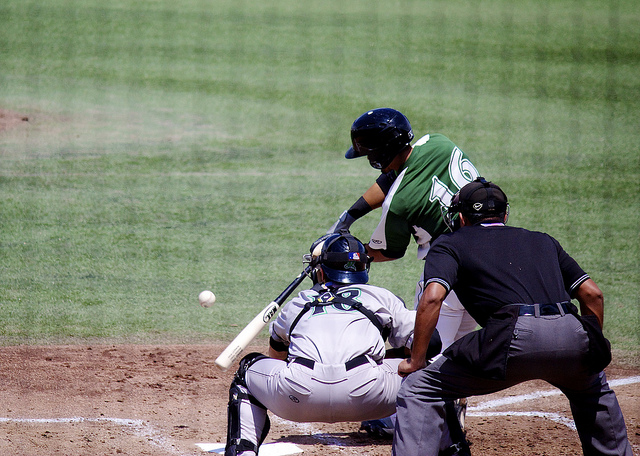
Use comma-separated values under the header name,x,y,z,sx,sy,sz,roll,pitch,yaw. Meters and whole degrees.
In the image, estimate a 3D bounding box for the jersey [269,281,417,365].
name,x,y,z,sx,sy,sz,roll,pitch,yaw
jersey,0.307,1.292,19.497,1.914,1.107,0.476,0,3,3

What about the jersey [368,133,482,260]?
name,x,y,z,sx,sy,sz,roll,pitch,yaw
jersey,1.500,-0.479,20.548,1.250,1.915,1.877,6,14,13

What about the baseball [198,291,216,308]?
name,x,y,z,sx,sy,sz,roll,pitch,yaw
baseball,-1.673,1.065,21.191,0.253,0.231,0.234,-9,-37,-30
